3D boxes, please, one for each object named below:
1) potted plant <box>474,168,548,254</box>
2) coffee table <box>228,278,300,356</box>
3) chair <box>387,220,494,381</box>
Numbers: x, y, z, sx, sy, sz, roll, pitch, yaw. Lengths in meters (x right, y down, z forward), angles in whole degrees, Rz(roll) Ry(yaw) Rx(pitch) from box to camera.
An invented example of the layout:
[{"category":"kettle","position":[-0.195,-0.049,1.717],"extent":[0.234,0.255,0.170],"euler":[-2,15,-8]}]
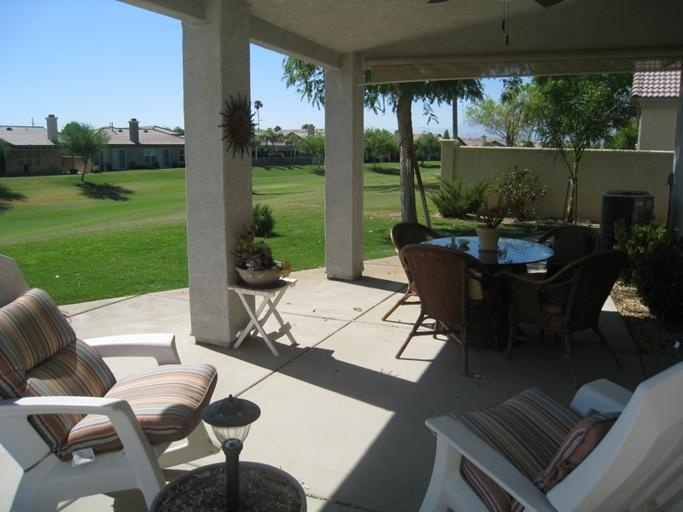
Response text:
[{"category":"potted plant","position":[3.851,-1.130,12.870],"extent":[1.141,1.878,1.083],"euler":[10,8,24]},{"category":"coffee table","position":[-0.738,0.496,5.090],"extent":[0.605,0.828,0.699],"euler":[6,15,21]},{"category":"chair","position":[0.925,0.466,4.757],"extent":[0.878,1.279,0.878],"euler":[16,30,32]}]
